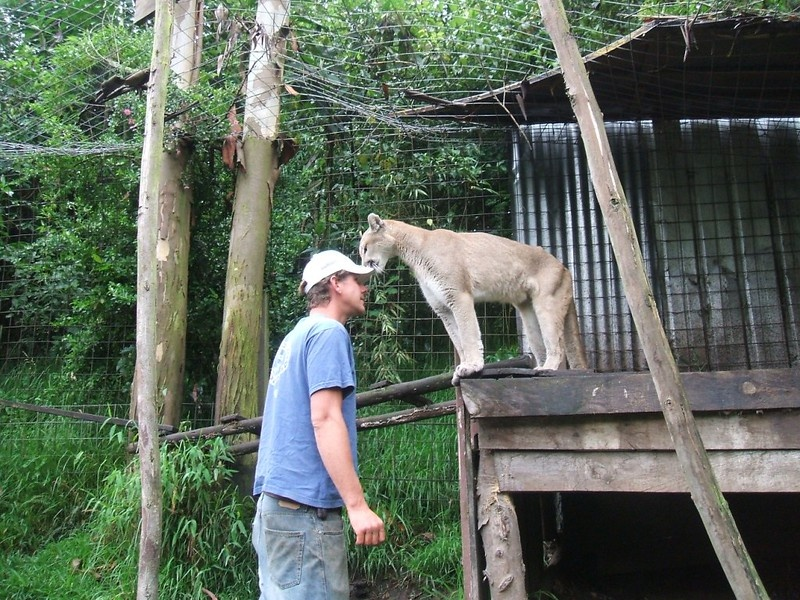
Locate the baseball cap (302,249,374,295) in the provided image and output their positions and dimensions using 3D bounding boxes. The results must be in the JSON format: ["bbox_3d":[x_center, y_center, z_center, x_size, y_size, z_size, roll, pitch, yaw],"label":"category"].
[{"bbox_3d":[-0.475,-0.237,6.072,0.287,0.149,0.187,-35,-16,32],"label":"baseball cap"}]
